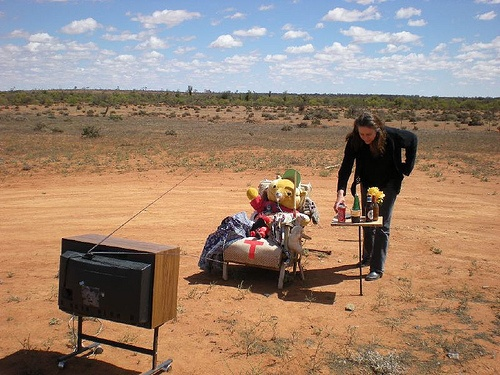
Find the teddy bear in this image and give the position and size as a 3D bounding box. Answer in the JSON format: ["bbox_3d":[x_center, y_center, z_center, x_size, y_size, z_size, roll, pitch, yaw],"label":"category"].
[{"bbox_3d":[0.477,0.352,7.701,1.070,1.296,0.778,13,-12,8],"label":"teddy bear"}]

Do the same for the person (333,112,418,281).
[{"bbox_3d":[2.150,0.263,6.965,1.108,2.893,1.512,1,3,17],"label":"person"}]

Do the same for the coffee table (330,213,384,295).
[{"bbox_3d":[1.808,1.129,6.950,0.967,1.324,0.924,-1,5,9],"label":"coffee table"}]

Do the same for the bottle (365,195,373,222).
[{"bbox_3d":[1.944,0.320,6.683,0.118,0.397,0.383,4,14,15],"label":"bottle"}]
